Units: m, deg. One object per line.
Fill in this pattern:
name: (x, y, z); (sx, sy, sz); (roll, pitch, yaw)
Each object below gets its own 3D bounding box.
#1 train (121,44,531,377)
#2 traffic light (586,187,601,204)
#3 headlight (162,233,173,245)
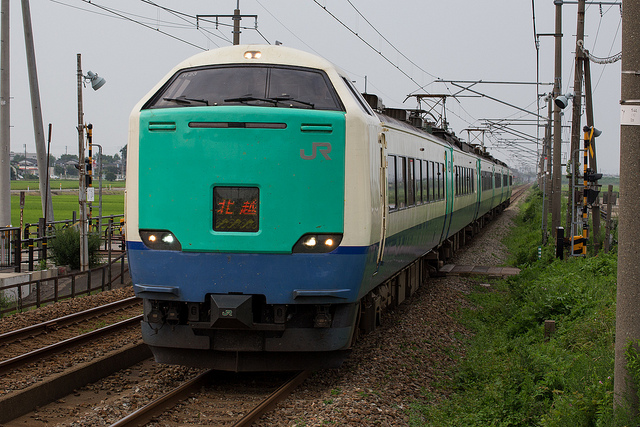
train: (0.416, -0.149, 10.068); (2.821, 5.079, 7.186); (-1, 4, 31)
traffic light: (7.108, -0.459, 14.650); (0.295, 0.428, 0.565); (-2, 4, 29)
headlight: (-2.084, 0.354, 7.664); (0.114, 0.164, 0.056); (4, 3, 6)
